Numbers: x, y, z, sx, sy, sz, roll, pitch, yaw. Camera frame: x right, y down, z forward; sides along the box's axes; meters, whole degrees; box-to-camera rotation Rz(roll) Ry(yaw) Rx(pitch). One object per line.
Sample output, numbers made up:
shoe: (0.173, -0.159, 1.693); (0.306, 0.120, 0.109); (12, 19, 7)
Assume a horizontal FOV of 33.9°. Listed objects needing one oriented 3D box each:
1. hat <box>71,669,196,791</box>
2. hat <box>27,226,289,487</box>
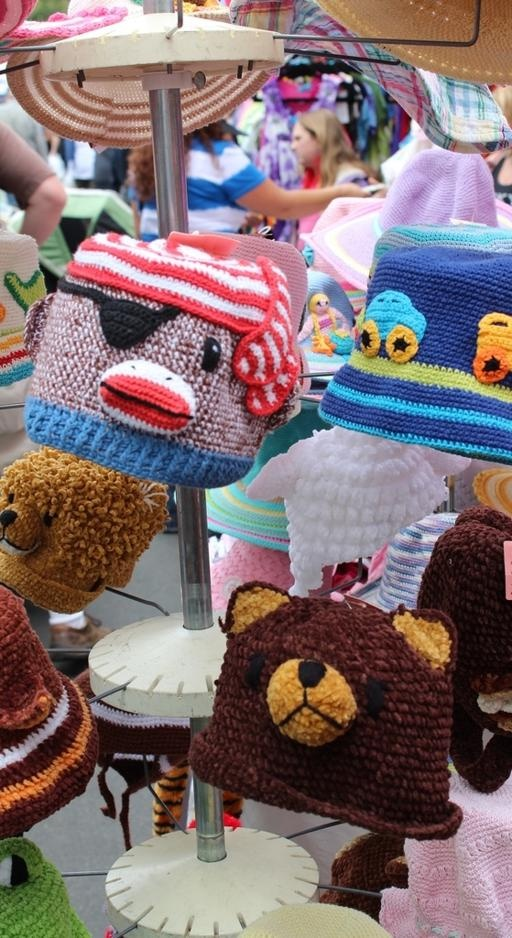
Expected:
hat: (-0.142, 0.304, 1.116); (0.173, 0.149, 0.129); (-11, 26, -19)
hat: (-0.074, -0.067, 0.730); (0.194, 0.168, 0.220); (22, 5, 1)
